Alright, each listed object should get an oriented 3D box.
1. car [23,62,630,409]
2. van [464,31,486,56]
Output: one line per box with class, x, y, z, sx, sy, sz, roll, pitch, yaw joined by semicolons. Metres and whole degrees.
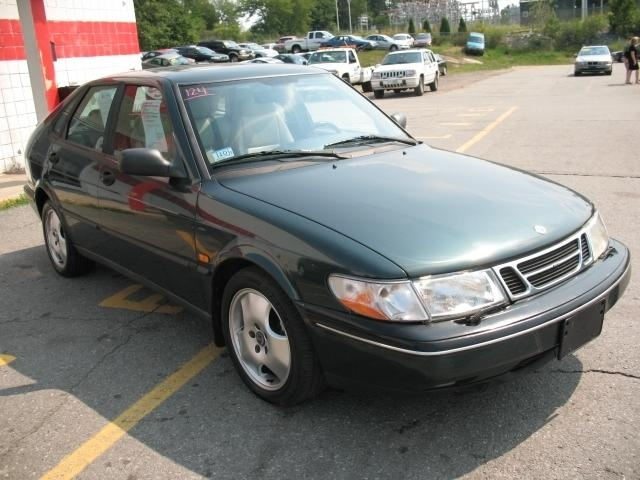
car;-0.553;-0.299;3.560;4.671;1.317;2.163;17;27;35
van;17.882;-22.122;53.114;2.035;2.494;4.038;2;23;15
